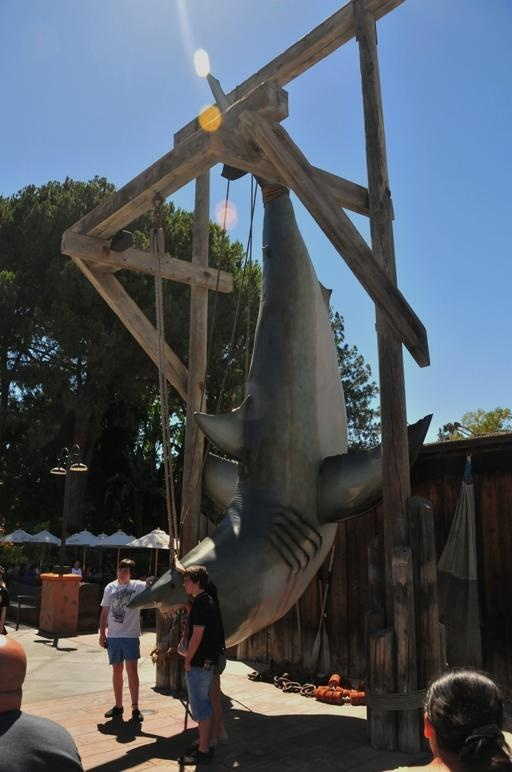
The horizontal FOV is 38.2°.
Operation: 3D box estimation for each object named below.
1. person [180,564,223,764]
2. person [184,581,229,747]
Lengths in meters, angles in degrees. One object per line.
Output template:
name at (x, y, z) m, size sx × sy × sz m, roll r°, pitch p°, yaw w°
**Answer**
person at (-0.271, 1.679, 4.543) m, size 0.420 × 1.014 × 0.303 m, roll -1°, pitch -5°, yaw 24°
person at (-0.301, 1.633, 4.471) m, size 0.276 × 1.106 × 0.338 m, roll -4°, pitch -14°, yaw 21°
